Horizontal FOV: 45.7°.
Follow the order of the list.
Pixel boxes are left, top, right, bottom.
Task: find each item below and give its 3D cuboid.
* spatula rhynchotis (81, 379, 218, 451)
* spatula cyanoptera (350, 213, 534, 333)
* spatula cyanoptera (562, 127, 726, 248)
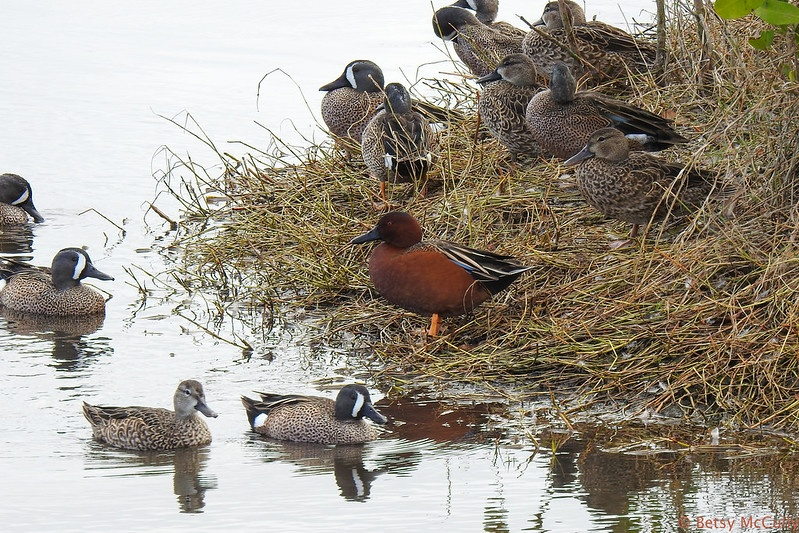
[{"bbox_3d":[-1.841,1.141,7.131,1.161,0.337,0.471,3,0,4],"label":"spatula rhynchotis"},{"bbox_3d":[0.312,-0.028,7.866,1.384,0.783,0.347,2,1,6],"label":"spatula cyanoptera"},{"bbox_3d":[2.145,-0.793,8.197,1.280,0.851,0.510,2,1,5],"label":"spatula cyanoptera"}]
